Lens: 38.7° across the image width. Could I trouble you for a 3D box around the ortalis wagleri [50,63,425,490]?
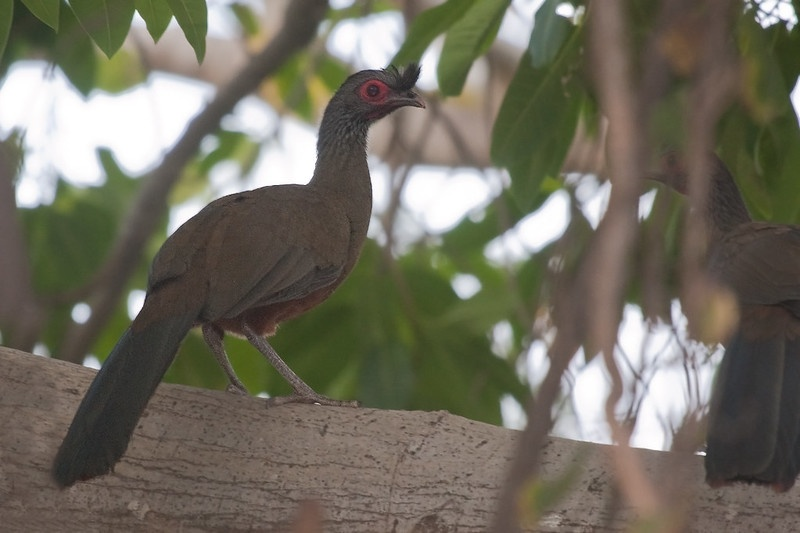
[{"bbox_3d":[-0.718,-0.098,5.746,0.744,2.766,1.275,13,-14,29],"label":"ortalis wagleri"}]
